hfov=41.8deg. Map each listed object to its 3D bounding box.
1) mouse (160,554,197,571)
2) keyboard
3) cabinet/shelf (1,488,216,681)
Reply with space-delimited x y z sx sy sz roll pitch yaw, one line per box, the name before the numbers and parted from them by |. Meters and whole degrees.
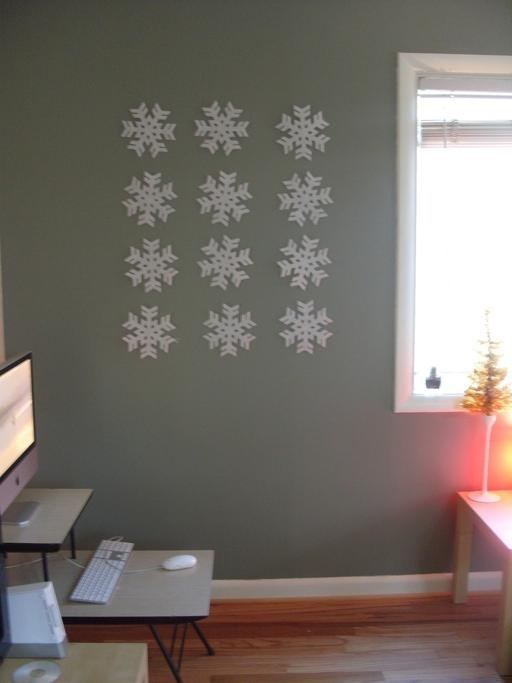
mouse | -0.279 0.785 2.403 0.080 0.023 0.060 -3 12 -3
keyboard | -0.537 0.803 2.334 0.087 0.032 0.238 3 17 3
cabinet/shelf | -0.391 0.818 2.372 0.817 0.560 0.513 0 9 -2
